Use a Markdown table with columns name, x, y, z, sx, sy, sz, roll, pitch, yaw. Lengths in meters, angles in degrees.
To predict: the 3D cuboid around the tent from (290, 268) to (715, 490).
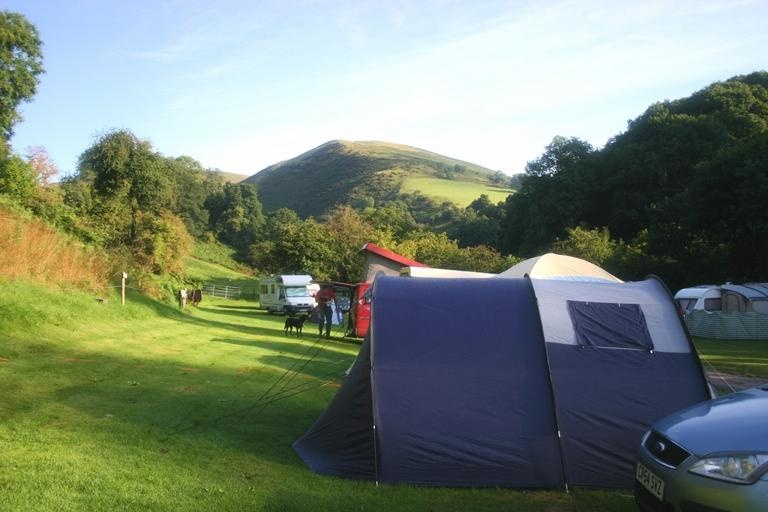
| name | x | y | z | sx | sy | sz | roll | pitch | yaw |
| --- | --- | --- | --- | --- | --- | --- | --- | --- | --- |
| tent | 2.424 | 2.236 | 10.130 | 5.354 | 2.300 | 3.697 | -1 | 1 | -3 |

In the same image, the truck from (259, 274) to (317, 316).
| name | x | y | z | sx | sy | sz | roll | pitch | yaw |
| --- | --- | --- | --- | --- | --- | --- | --- | --- | --- |
| truck | -6.388 | 2.486 | 36.181 | 2.393 | 2.408 | 5.159 | 0 | -2 | -30 |

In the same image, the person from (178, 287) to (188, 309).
| name | x | y | z | sx | sy | sz | roll | pitch | yaw |
| --- | --- | --- | --- | --- | --- | --- | --- | --- | --- |
| person | -11.182 | 2.393 | 30.419 | 0.328 | 1.422 | 1.856 | 2 | 9 | -22 |
